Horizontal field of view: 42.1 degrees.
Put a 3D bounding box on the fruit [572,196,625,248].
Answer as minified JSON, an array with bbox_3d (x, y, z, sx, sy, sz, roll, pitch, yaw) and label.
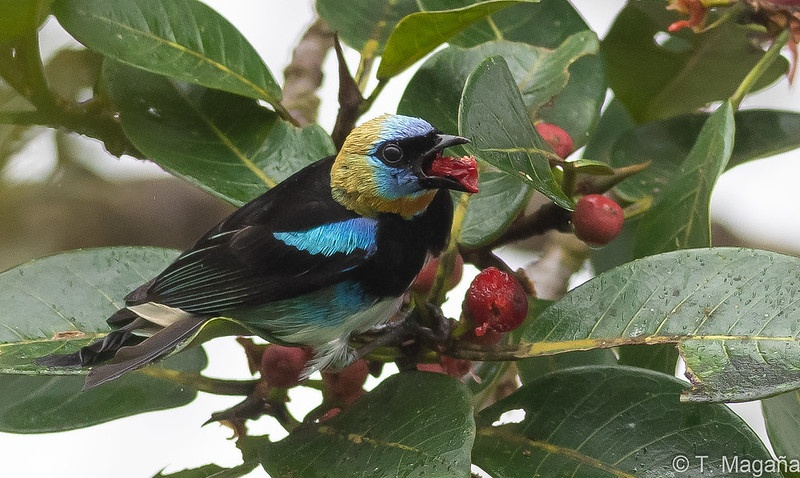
[{"bbox_3d":[0.836,-0.079,4.314,0.236,0.216,0.216,5,7,13],"label":"fruit"}]

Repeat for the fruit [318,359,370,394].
[{"bbox_3d":[-0.232,0.553,4.270,0.178,0.130,0.188,-25,0,1],"label":"fruit"}]

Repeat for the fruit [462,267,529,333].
[{"bbox_3d":[0.373,0.258,4.185,0.259,0.305,0.179,16,-11,0],"label":"fruit"}]

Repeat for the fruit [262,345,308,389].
[{"bbox_3d":[-0.498,0.513,4.192,0.201,0.149,0.223,8,-6,1],"label":"fruit"}]
